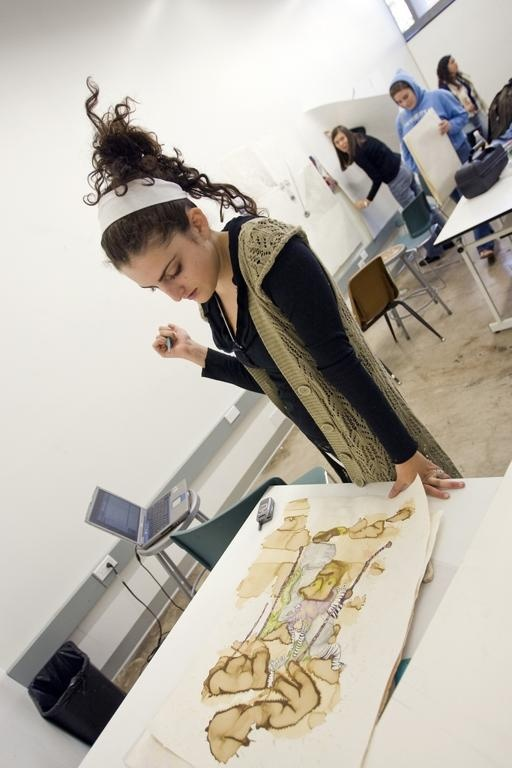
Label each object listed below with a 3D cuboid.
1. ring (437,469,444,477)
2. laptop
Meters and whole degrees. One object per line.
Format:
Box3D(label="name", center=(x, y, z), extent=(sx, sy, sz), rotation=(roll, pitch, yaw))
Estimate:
Box3D(label="ring", center=(0.392, 0.191, 1.167), extent=(0.012, 0.015, 0.016), rotation=(2, 51, 14))
Box3D(label="laptop", center=(-0.471, 0.521, 2.285), extent=(0.315, 0.231, 0.321), rotation=(-34, 25, 15))
